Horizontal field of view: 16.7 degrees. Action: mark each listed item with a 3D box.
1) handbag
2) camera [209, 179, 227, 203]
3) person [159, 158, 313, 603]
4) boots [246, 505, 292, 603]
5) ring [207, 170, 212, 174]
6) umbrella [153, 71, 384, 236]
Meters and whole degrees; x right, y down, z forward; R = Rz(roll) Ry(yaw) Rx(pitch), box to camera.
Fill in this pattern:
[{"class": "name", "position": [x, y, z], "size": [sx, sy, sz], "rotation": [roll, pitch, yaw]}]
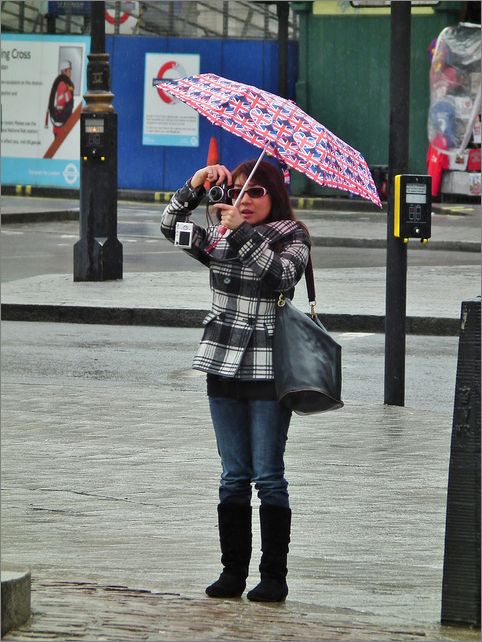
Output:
[{"class": "handbag", "position": [0.237, 0.125, 5.812], "size": [0.250, 0.386, 0.209], "rotation": [3, 8, 1]}, {"class": "camera", "position": [-0.089, -0.472, 5.971], "size": [0.062, 0.079, 0.033], "rotation": [1, -1, 29]}, {"class": "person", "position": [-0.003, 0.199, 5.985], "size": [0.475, 1.566, 0.674], "rotation": [0, 8, -20]}, {"class": "boots", "position": [0.103, 0.826, 5.851], "size": [0.139, 0.316, 0.215], "rotation": [3, 8, 6]}, {"class": "ring", "position": [-0.116, -0.547, 5.997], "size": [0.009, 0.013, 0.011], "rotation": [1, 3, -40]}, {"class": "umbrella", "position": [0.139, -0.550, 6.154], "size": [0.572, 0.393, 0.608], "rotation": [33, -4, 16]}]
